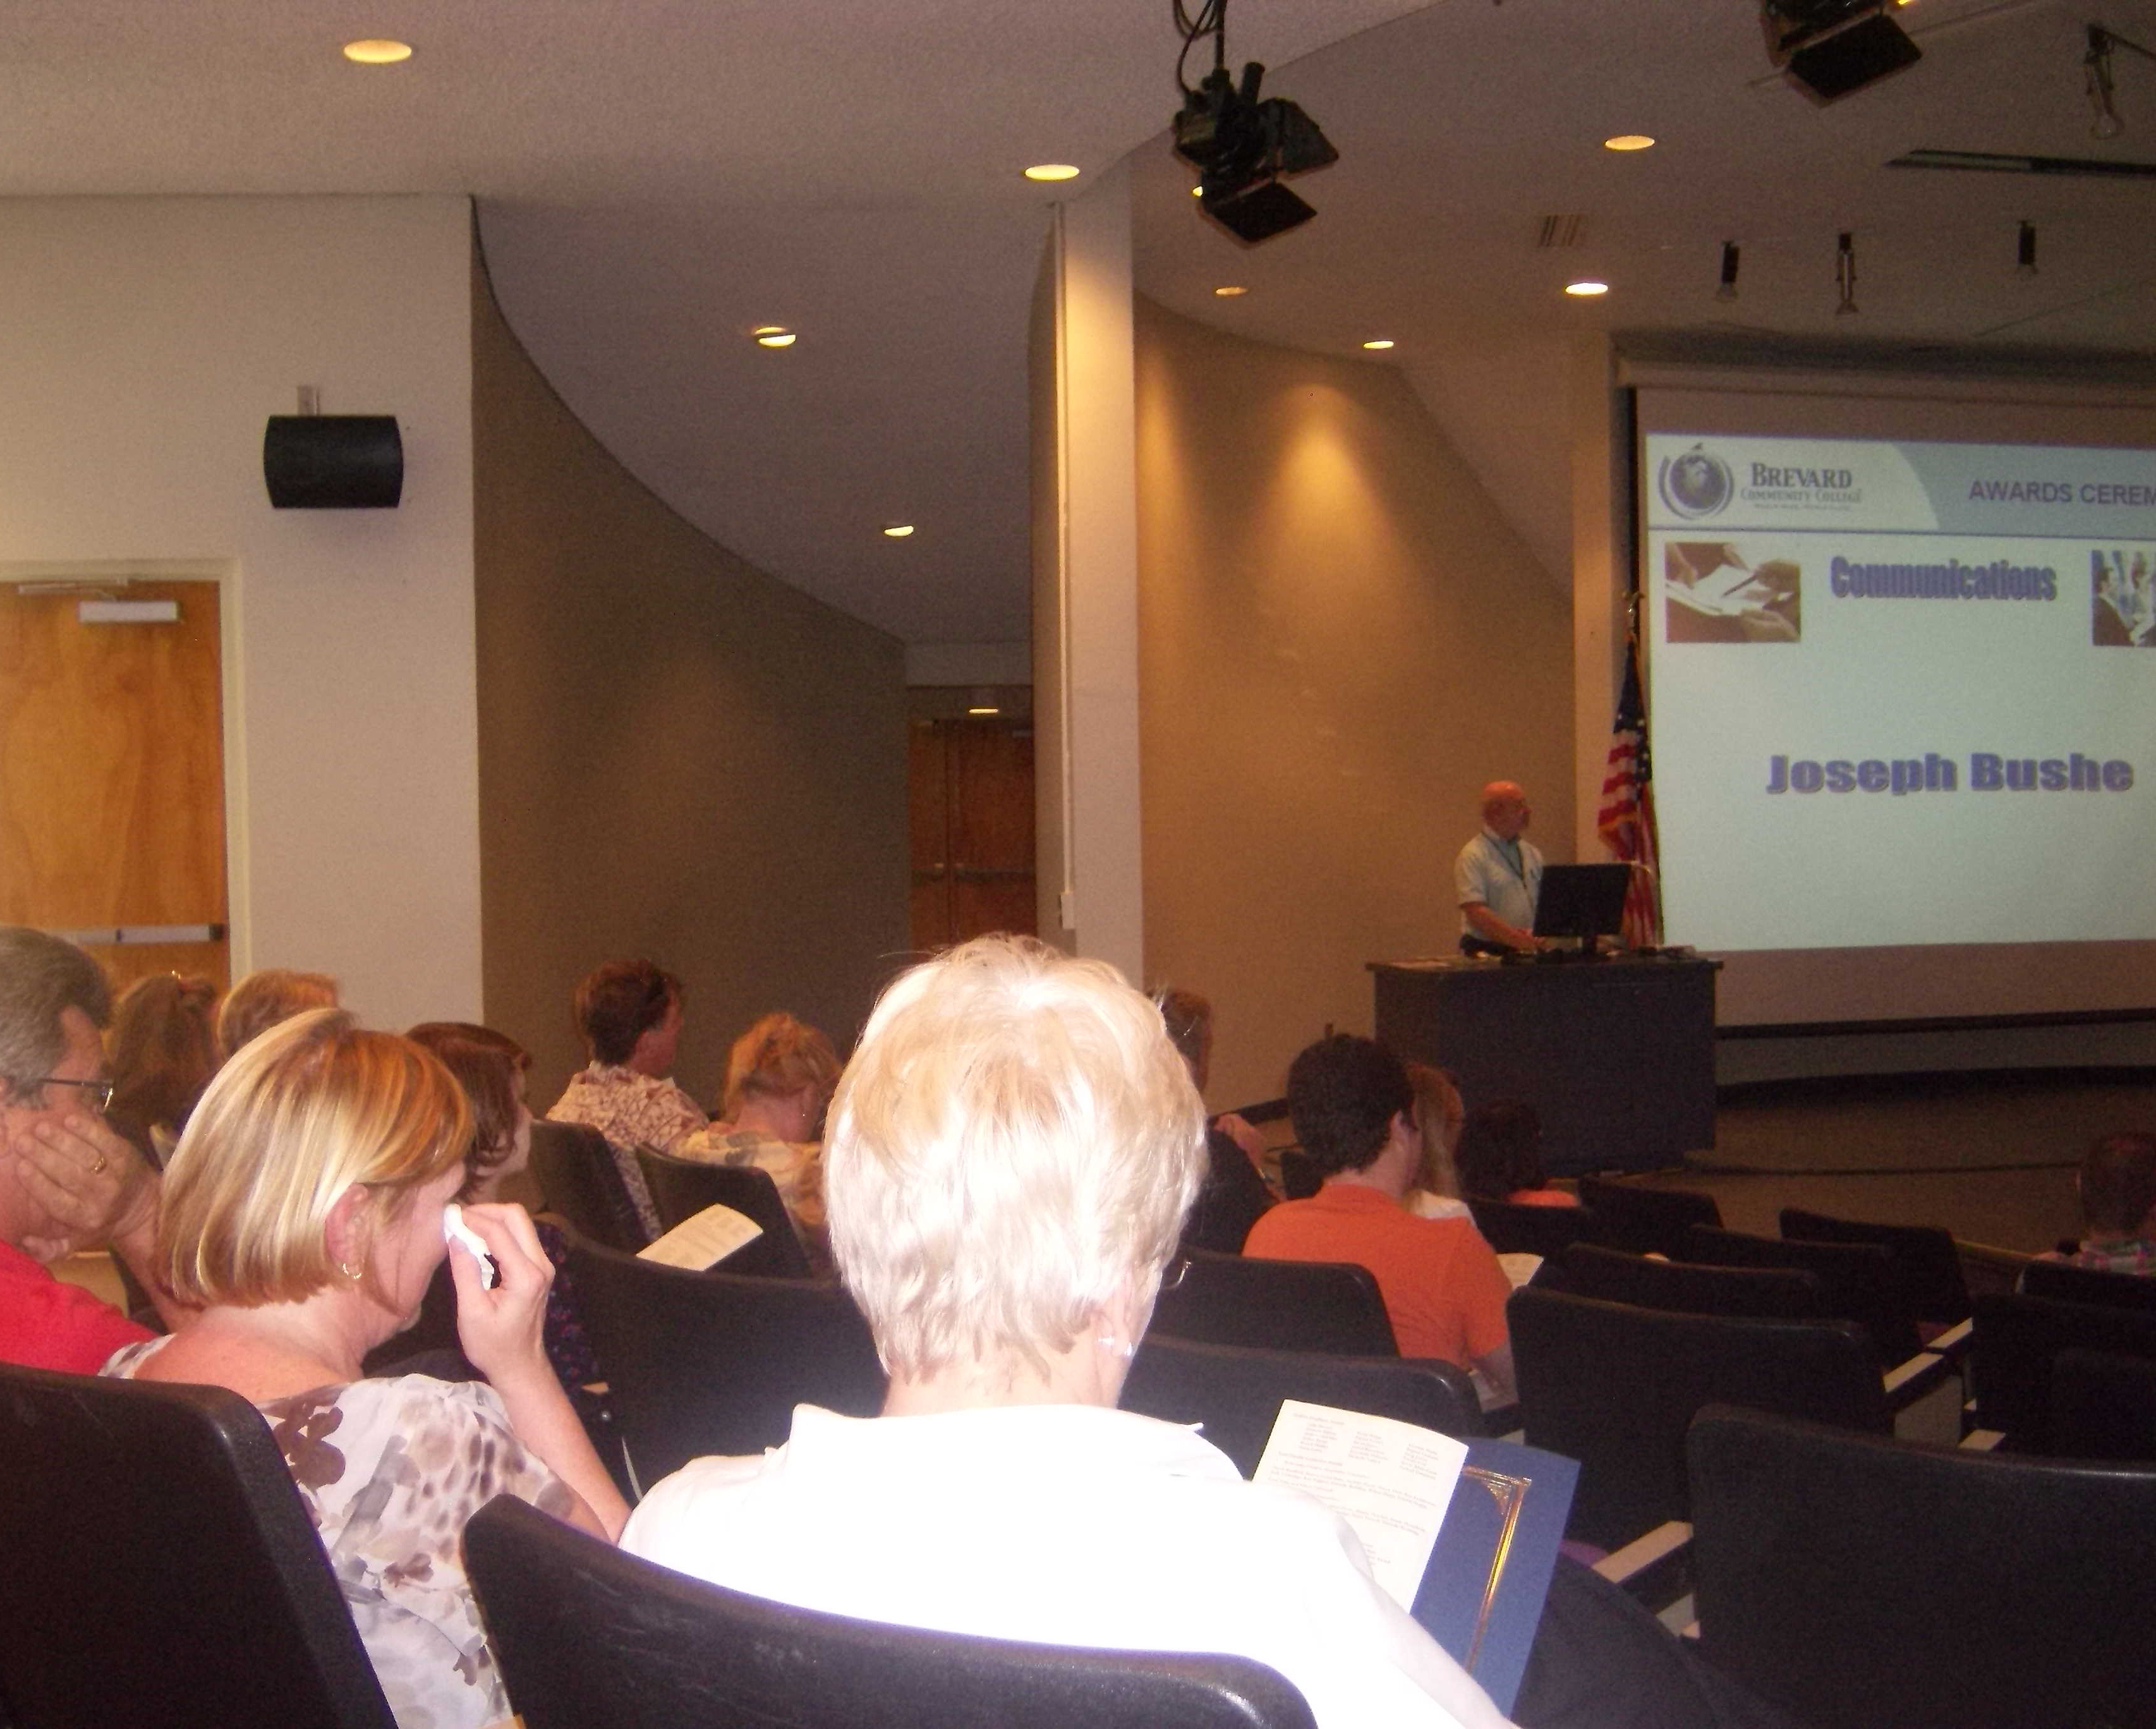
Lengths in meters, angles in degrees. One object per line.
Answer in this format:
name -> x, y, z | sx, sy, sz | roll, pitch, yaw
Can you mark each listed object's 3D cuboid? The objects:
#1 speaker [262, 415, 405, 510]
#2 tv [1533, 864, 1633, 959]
speaker -> -2.195, -1.198, 5.404 | 0.407, 0.223, 0.249 | 1, 23, -5
tv -> 1.929, 0.183, 7.044 | 0.318, 0.357, 0.149 | 2, 0, 3
